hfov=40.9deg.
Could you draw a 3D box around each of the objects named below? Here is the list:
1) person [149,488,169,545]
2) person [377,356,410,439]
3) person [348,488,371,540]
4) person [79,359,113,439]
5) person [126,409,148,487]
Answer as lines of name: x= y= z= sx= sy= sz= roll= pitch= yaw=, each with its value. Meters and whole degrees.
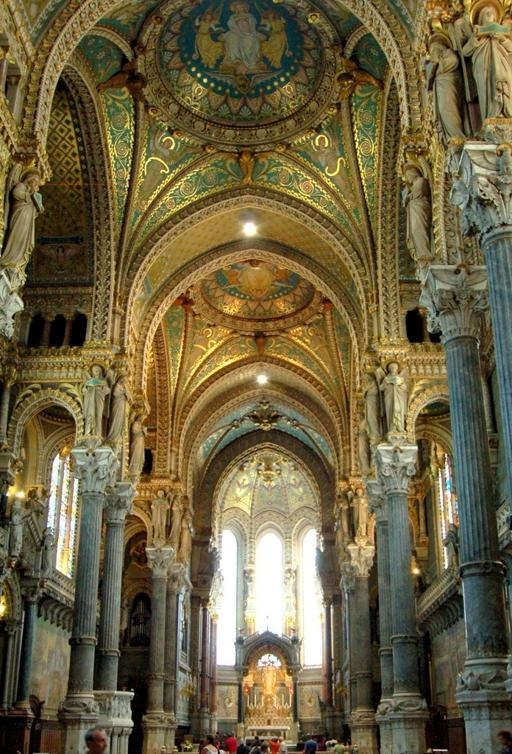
person: x=-3.021 y=4.485 z=21.751 sx=0.583 sy=1.753 sz=0.430 roll=9 pitch=-28 yaw=-12
person: x=2.710 y=0.463 z=13.464 sx=0.594 sy=1.652 sz=0.389 roll=-3 pitch=-28 yaw=10
person: x=3.154 y=4.184 z=20.726 sx=0.399 sy=1.695 sz=0.872 roll=20 pitch=-33 yaw=-30
person: x=-3.254 y=0.538 z=13.892 sx=0.558 sy=1.629 sz=0.414 roll=10 pitch=-29 yaw=-15
person: x=-2.784 y=1.663 z=16.040 sx=0.382 sy=1.984 sz=0.721 roll=8 pitch=-28 yaw=-11
